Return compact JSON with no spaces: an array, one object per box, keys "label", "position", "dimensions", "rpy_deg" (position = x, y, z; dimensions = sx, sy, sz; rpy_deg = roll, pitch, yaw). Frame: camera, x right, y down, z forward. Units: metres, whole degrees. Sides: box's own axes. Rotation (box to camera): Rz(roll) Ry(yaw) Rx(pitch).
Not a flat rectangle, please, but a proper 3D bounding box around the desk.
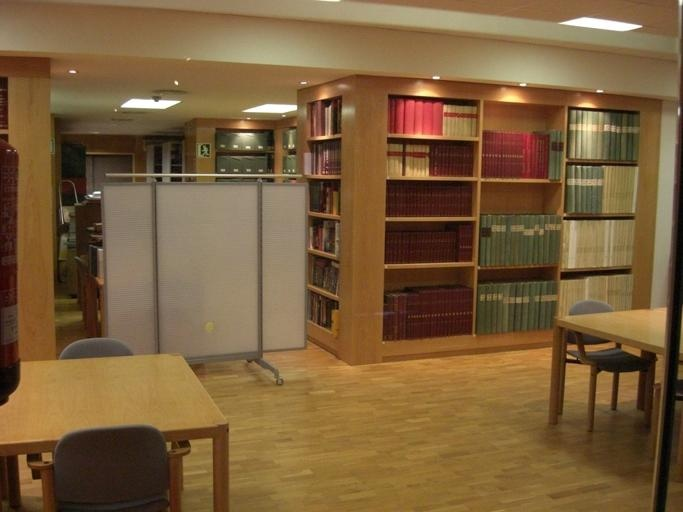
[{"label":"desk","position":[2.051,0.858,4.134],"dimensions":[0.662,1.009,0.852],"rpy_deg":[-3,8,-25]}]
